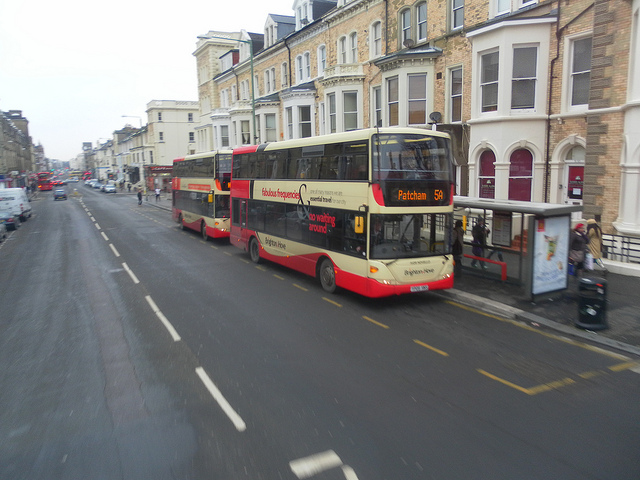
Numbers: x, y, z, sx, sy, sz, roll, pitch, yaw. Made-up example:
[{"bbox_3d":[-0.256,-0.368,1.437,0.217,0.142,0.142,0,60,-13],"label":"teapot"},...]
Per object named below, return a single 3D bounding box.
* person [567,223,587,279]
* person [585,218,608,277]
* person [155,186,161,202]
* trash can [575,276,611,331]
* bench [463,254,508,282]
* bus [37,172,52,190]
[{"bbox_3d":[8.546,0.483,14.933,0.495,1.547,0.371,3,12,22],"label":"person"},{"bbox_3d":[9.230,0.230,15.047,0.840,1.832,0.510,0,11,4],"label":"person"},{"bbox_3d":[-21.489,-5.955,59.654,0.376,1.440,2.064,-4,12,-15],"label":"person"},{"bbox_3d":[6.729,1.575,11.043,0.716,1.222,0.554,6,13,30],"label":"trash can"},{"bbox_3d":[5.919,0.876,15.668,1.155,0.718,1.694,1,13,12],"label":"bench"},{"bbox_3d":[-64.182,-13.572,104.936,2.289,4.055,5.970,-7,13,-25],"label":"bus"}]
